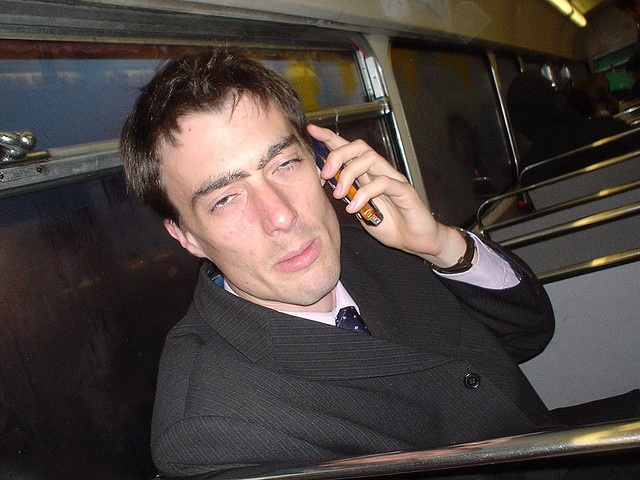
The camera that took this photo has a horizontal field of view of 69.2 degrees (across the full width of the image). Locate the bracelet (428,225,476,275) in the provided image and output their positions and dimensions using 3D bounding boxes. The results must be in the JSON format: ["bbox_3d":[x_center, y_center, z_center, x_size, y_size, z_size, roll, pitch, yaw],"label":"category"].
[{"bbox_3d":[0.647,0.061,2.386,0.100,0.222,0.254,26,-19,12],"label":"bracelet"}]
